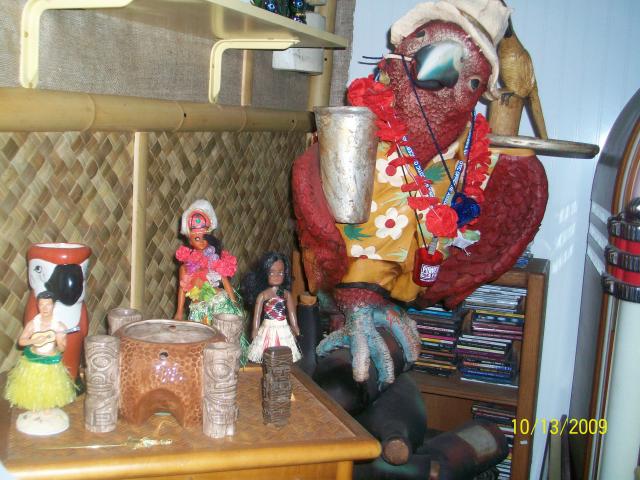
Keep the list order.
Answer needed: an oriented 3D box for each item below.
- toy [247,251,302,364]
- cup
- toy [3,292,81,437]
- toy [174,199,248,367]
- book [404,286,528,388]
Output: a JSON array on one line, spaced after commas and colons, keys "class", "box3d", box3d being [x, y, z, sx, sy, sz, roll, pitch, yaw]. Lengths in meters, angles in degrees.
[{"class": "toy", "box3d": [-0.116, 0.177, 1.392, 0.135, 0.275, 0.260, 2, 5, -3]}, {"class": "cup", "box3d": [0.068, -0.206, 1.471, 0.170, 0.325, 0.141, 3, 5, 7]}, {"class": "toy", "box3d": [-0.512, 0.215, 0.966, 0.118, 0.251, 0.130, 0, 5, -23]}, {"class": "toy", "box3d": [-0.255, 0.050, 1.213, 0.141, 0.284, 0.131, -1, 6, -31]}, {"class": "book", "box3d": [0.604, 0.344, 2.186, 0.462, 0.389, 0.415, 5, 32, 18]}]
